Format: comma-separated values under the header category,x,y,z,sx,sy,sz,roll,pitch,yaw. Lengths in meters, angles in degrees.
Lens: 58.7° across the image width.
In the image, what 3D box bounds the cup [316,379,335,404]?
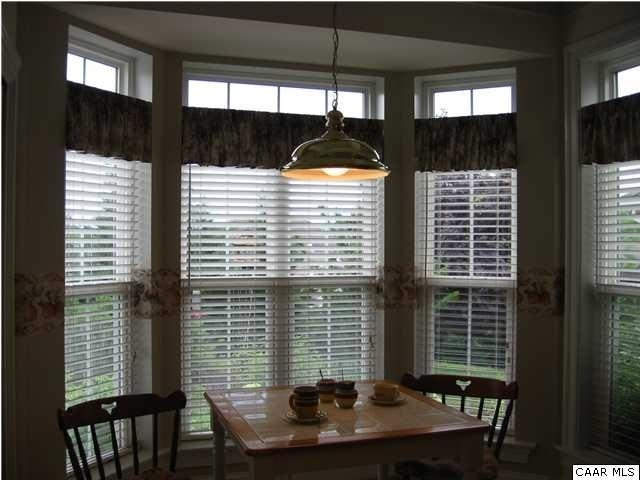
category,x,y,z,sx,sy,sz,roll,pitch,yaw
cup,0.027,0.863,3.243,0.121,0.090,0.115,0,-10,0

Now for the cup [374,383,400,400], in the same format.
category,x,y,z,sx,sy,sz,roll,pitch,yaw
cup,0.379,0.868,3.274,0.118,0.056,0.095,1,-1,29

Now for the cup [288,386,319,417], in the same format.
category,x,y,z,sx,sy,sz,roll,pitch,yaw
cup,-0.101,0.867,2.999,0.142,0.137,0.207,-12,-15,33

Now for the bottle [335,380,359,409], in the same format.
category,x,y,z,sx,sy,sz,roll,pitch,yaw
bottle,0.143,0.860,3.166,0.146,0.125,0.133,3,-13,-12
